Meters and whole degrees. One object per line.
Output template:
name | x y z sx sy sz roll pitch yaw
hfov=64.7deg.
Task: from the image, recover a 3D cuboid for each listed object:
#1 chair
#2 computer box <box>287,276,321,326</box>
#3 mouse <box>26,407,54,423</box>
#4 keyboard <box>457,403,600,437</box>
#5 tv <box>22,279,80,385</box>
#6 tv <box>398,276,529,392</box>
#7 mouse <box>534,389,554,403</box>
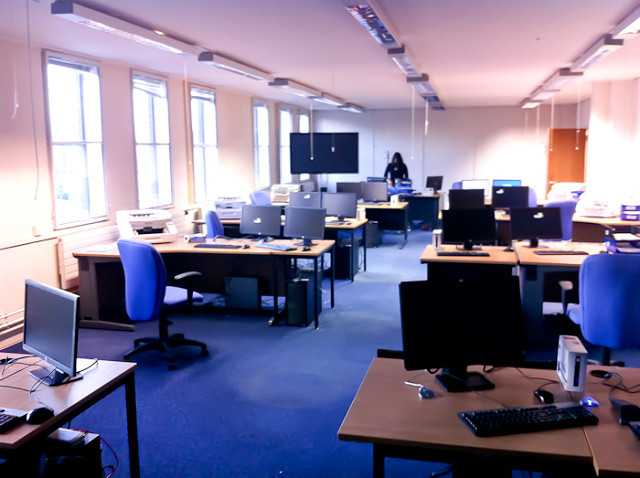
chair | -1.581 0.598 5.133 0.785 1.258 0.841 -3 12 -38
computer box | -0.227 0.745 5.915 0.325 0.523 0.242 -2 15 -4
mouse | -1.492 0.939 2.691 0.071 0.041 0.122 5 6 14
keyboard | 1.071 0.927 2.592 0.678 0.050 0.176 -3 14 -8
tv | -1.636 0.581 3.093 0.606 0.565 0.183 9 9 34
tv | 0.827 0.565 2.915 0.668 0.510 0.273 0 1 2
mouse | 1.235 0.864 2.772 0.096 0.048 0.137 2 15 12
